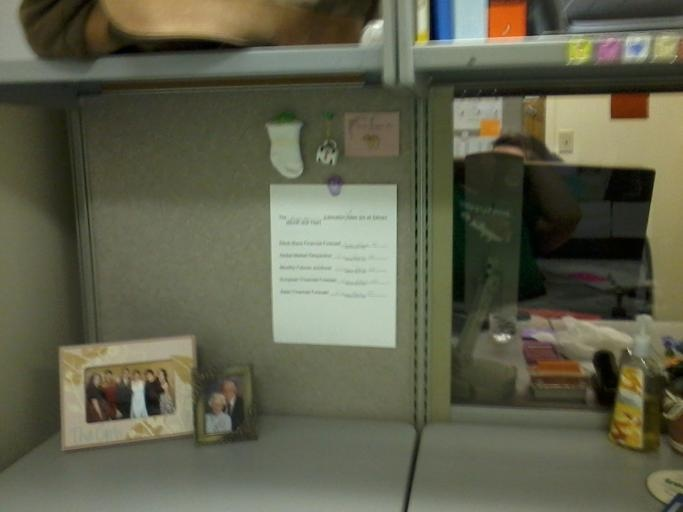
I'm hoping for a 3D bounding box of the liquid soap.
[{"bbox_3d":[0.513,0.229,1.249,0.087,0.192,0.058,-7,11,-15],"label":"liquid soap"}]

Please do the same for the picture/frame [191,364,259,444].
[{"bbox_3d":[-0.215,0.268,1.312,0.111,0.147,0.015,-3,-5,-6],"label":"picture/frame"}]
